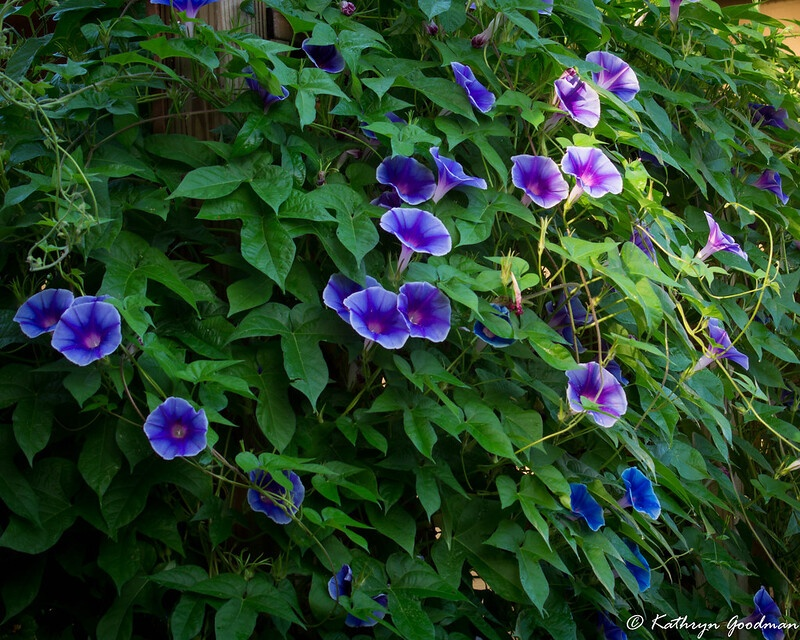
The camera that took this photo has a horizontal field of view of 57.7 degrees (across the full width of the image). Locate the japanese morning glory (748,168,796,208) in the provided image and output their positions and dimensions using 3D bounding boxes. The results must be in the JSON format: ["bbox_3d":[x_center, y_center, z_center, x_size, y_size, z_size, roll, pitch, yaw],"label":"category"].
[{"bbox_3d":[1.398,-0.494,2.700,0.152,0.086,0.159,26,30,-15],"label":"japanese morning glory"}]

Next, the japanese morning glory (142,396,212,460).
[{"bbox_3d":[-0.484,0.231,1.585,0.129,0.071,0.153,-9,55,-28],"label":"japanese morning glory"}]

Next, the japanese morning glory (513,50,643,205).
[{"bbox_3d":[0.493,-0.530,2.076,0.270,0.162,0.561,26,66,-5],"label":"japanese morning glory"}]

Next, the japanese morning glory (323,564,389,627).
[{"bbox_3d":[-0.125,0.699,1.827,0.148,0.065,0.146,43,48,-16],"label":"japanese morning glory"}]

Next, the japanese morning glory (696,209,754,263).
[{"bbox_3d":[0.996,-0.278,2.264,0.117,0.051,0.151,-4,35,-15],"label":"japanese morning glory"}]

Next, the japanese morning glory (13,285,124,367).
[{"bbox_3d":[-0.723,0.007,1.592,0.227,0.067,0.156,24,46,18],"label":"japanese morning glory"}]
